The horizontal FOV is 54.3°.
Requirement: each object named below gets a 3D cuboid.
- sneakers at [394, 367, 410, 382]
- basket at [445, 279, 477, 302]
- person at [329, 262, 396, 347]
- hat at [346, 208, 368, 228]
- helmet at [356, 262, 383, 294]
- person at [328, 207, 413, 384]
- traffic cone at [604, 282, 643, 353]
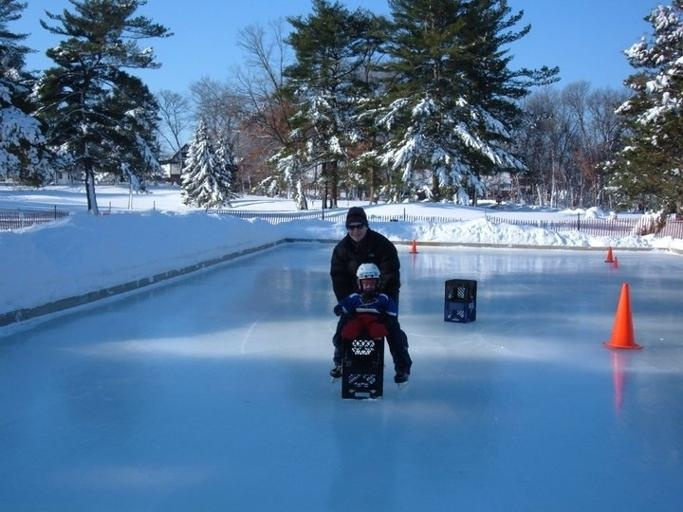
[{"bbox_3d":[0.735,1.416,7.993,0.130,0.194,0.185,-29,-1,13],"label":"sneakers"},{"bbox_3d":[1.975,0.559,10.990,0.393,0.452,0.414,1,3,30],"label":"basket"},{"bbox_3d":[0.288,0.516,7.534,0.666,0.911,0.591,1,9,4],"label":"person"},{"bbox_3d":[0.173,-0.445,7.540,0.235,0.239,0.277,0,10,-3],"label":"hat"},{"bbox_3d":[0.306,0.239,7.470,0.237,0.343,0.232,0,9,-1],"label":"helmet"},{"bbox_3d":[0.285,0.570,7.987,0.905,2.339,0.961,2,16,16],"label":"person"},{"bbox_3d":[4.116,0.900,9.674,0.600,0.865,0.647,3,13,21],"label":"traffic cone"}]
